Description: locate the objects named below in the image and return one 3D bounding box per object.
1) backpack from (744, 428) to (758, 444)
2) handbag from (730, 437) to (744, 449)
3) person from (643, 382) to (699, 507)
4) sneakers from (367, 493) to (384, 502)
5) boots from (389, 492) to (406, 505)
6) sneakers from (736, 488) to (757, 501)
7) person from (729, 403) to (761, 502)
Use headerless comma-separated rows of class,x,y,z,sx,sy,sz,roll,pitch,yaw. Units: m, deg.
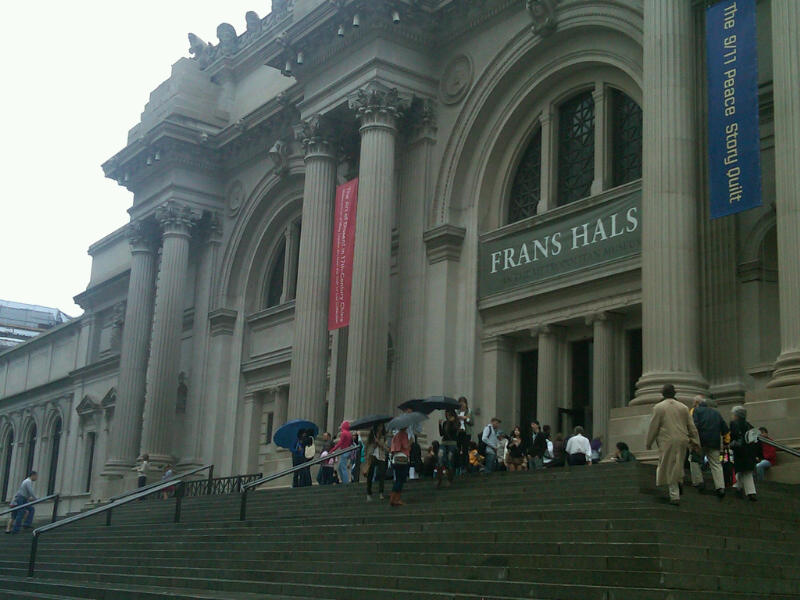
backpack,5.463,2.102,12.680,0.181,0.268,0.358,-11,-18,28
handbag,5.238,2.224,12.684,0.159,0.093,0.218,0,-10,10
person,4.020,2.118,12.016,0.724,1.714,1.146,-7,-17,18
sneakers,-0.521,3.901,16.092,0.153,0.183,0.449,7,-24,-28
boots,-0.051,3.633,14.982,0.149,0.202,0.465,-1,-7,20
sneakers,5.317,2.993,12.551,0.202,0.055,0.149,8,3,41
person,5.368,2.414,12.877,0.566,1.478,0.452,25,-32,-31
